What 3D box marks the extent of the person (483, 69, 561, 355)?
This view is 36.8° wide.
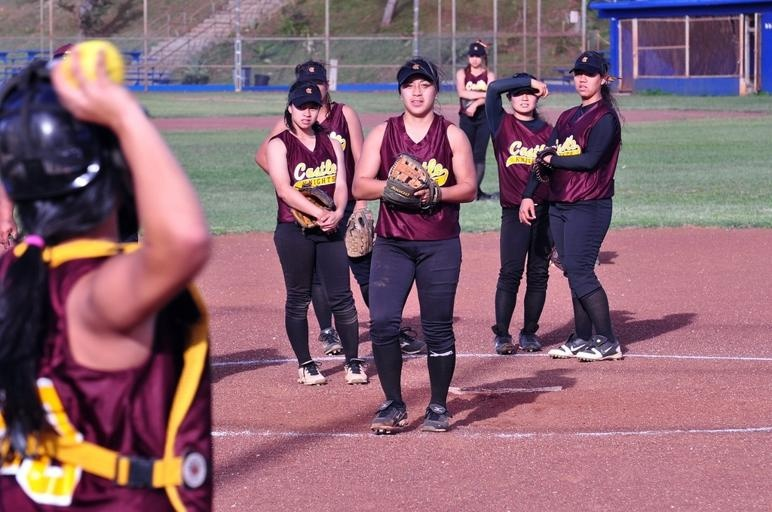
[{"bbox_3d":[1.096,-0.324,9.590,0.761,2.051,0.739,2,1,23],"label":"person"}]

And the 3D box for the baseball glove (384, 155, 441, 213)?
[{"bbox_3d":[0.151,-0.459,7.436,0.293,0.357,0.205,7,14,35],"label":"baseball glove"}]

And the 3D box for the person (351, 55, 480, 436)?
[{"bbox_3d":[0.202,-0.082,7.635,0.789,2.399,0.797,-2,11,-1],"label":"person"}]

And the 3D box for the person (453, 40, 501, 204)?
[{"bbox_3d":[1.260,-1.739,15.102,0.824,1.979,0.921,2,-1,0],"label":"person"}]

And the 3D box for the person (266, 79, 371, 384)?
[{"bbox_3d":[-0.533,-0.177,8.496,0.788,2.228,0.817,2,-3,-8],"label":"person"}]

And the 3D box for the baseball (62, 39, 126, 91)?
[{"bbox_3d":[-1.106,-0.737,4.382,0.231,0.155,0.161,0,10,7],"label":"baseball"}]

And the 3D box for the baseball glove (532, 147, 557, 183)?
[{"bbox_3d":[1.217,-0.709,8.997,0.180,0.257,0.129,-4,19,-22],"label":"baseball glove"}]

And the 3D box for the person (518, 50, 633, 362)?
[{"bbox_3d":[1.549,-0.397,9.226,0.970,2.255,1.120,2,0,10],"label":"person"}]

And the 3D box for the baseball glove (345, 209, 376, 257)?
[{"bbox_3d":[-0.190,-0.172,8.661,0.261,0.340,0.244,-1,9,10],"label":"baseball glove"}]
